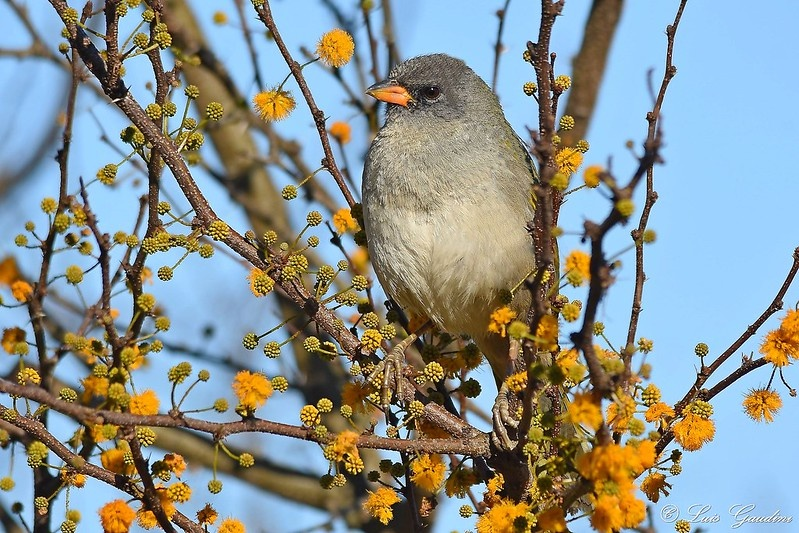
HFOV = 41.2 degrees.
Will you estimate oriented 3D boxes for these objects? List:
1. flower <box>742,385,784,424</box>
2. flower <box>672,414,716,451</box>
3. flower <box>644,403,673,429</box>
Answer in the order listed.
[{"bbox_3d":[1.891,0.741,5.549,0.162,0.208,0.159,24,-42,-33],"label":"flower"},{"bbox_3d":[1.497,0.842,5.416,0.197,0.187,0.075,-12,-34,14],"label":"flower"},{"bbox_3d":[1.338,0.762,5.460,0.147,0.133,0.127,-10,-35,11],"label":"flower"}]
